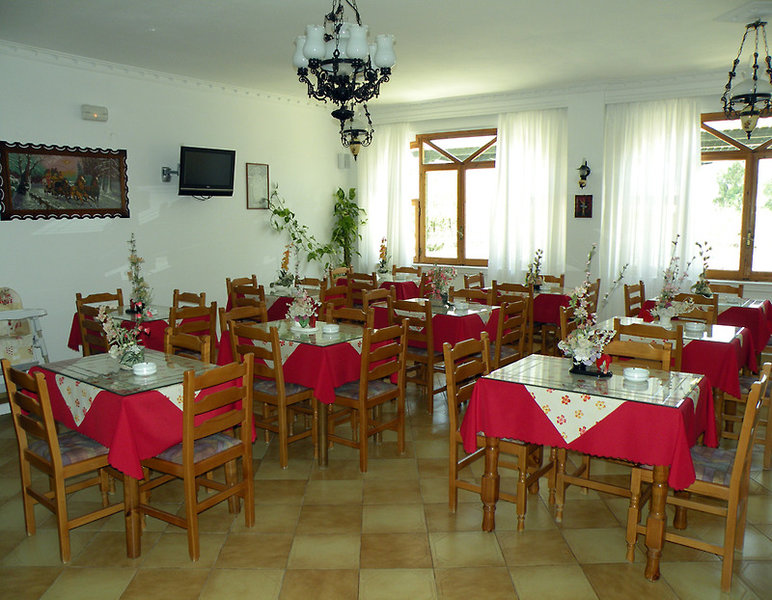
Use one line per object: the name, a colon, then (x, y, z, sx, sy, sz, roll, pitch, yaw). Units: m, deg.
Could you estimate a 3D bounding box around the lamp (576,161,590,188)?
lamp: (2.778, -1.756, 8.349, 0.140, 0.369, 0.151, -7, 15, -26)
